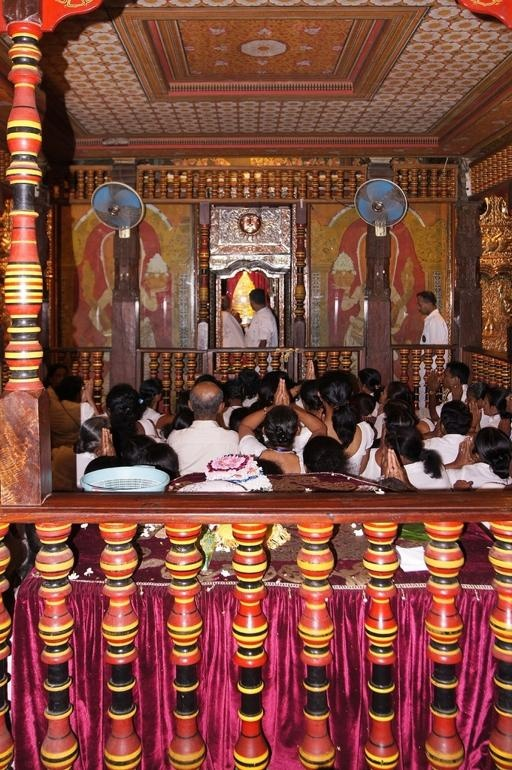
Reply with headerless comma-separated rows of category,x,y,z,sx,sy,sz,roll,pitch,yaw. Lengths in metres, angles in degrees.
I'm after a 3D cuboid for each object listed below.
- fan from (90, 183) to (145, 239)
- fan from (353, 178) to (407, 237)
fan,-1.298,-1.652,6.094,0.431,0.348,0.416,-2,4,-5
fan,1.095,-1.577,5.801,0.453,0.504,0.157,4,19,14
